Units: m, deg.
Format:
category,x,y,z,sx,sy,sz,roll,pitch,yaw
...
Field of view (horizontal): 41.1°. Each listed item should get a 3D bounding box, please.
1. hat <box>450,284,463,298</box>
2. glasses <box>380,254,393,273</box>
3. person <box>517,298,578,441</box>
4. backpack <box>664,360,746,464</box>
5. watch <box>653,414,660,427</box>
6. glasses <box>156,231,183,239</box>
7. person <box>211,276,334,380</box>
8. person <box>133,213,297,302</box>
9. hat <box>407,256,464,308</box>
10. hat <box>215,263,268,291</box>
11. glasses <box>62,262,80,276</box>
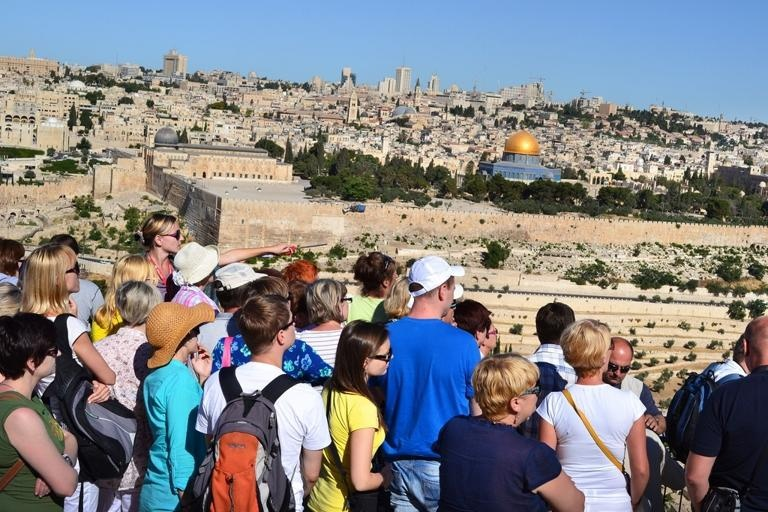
category,x,y,z,sx,sy,sz,roll,pitch,yaw
hat,0.650,0.313,9.076,0.027,0.116,0.111,-14,16,-41
glasses,0.043,0.053,9.657,0.095,0.132,0.127,3,0,23
person,1.605,1.100,9.265,0.349,1.162,0.405,-20,45,1
backpack,2.727,1.275,8.614,0.563,0.647,0.434,12,-5,-14
watch,2.373,1.429,8.946,0.052,0.071,0.027,5,13,41
glasses,-2.023,-0.213,9.832,0.104,0.095,0.270,7,5,26
person,-0.898,0.630,8.529,0.569,0.549,1.186,6,-22,6
person,-1.651,0.068,10.006,1.249,0.768,0.876,-7,45,-10
hat,0.418,0.155,8.621,0.474,0.283,0.310,-29,28,-27
hat,-1.347,0.184,9.521,0.387,0.148,0.260,-11,14,-32
glasses,-2.725,0.104,8.948,0.115,0.038,0.120,-27,-5,14
